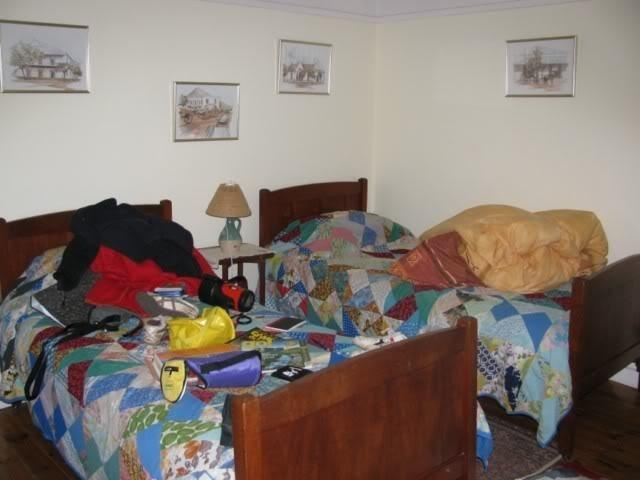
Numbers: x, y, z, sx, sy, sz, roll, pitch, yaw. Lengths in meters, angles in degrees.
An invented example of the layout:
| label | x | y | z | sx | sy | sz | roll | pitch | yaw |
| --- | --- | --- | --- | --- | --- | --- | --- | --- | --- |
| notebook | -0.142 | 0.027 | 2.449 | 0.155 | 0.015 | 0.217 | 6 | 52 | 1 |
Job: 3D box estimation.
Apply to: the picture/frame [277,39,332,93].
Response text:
| label | x | y | z | sx | sy | sz | roll | pitch | yaw |
| --- | --- | --- | --- | --- | --- | --- | --- | --- | --- |
| picture/frame | -0.129 | -1.552 | 4.723 | 0.573 | 0.423 | 0.016 | 14 | 21 | 29 |

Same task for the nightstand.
| label | x | y | z | sx | sy | sz | roll | pitch | yaw |
| --- | --- | --- | --- | --- | --- | --- | --- | --- | --- |
| nightstand | -0.680 | 0.124 | 4.261 | 0.597 | 0.649 | 0.464 | -9 | 14 | -40 |

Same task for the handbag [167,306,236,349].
| label | x | y | z | sx | sy | sz | roll | pitch | yaw |
| --- | --- | --- | --- | --- | --- | --- | --- | --- | --- |
| handbag | -0.589 | 0.443 | 2.614 | 0.196 | 0.120 | 0.273 | 5 | 8 | 31 |

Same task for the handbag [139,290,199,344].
| label | x | y | z | sx | sy | sz | roll | pitch | yaw |
| --- | --- | --- | --- | --- | --- | --- | --- | --- | --- |
| handbag | -0.875 | 0.446 | 2.901 | 0.218 | 0.103 | 0.313 | 7 | 18 | 17 |

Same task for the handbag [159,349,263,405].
| label | x | y | z | sx | sy | sz | roll | pitch | yaw |
| --- | --- | --- | --- | --- | --- | --- | --- | --- | --- |
| handbag | -0.478 | 0.517 | 2.225 | 0.261 | 0.128 | 0.262 | -4 | 0 | -32 |

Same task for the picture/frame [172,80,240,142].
| label | x | y | z | sx | sy | sz | roll | pitch | yaw |
| --- | --- | --- | --- | --- | --- | --- | --- | --- | --- |
| picture/frame | -0.909 | -1.044 | 4.211 | 0.589 | 0.463 | 0.018 | 5 | 11 | 29 |

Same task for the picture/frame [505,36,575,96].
| label | x | y | z | sx | sy | sz | roll | pitch | yaw |
| --- | --- | --- | --- | --- | --- | --- | --- | --- | --- |
| picture/frame | 1.787 | -1.404 | 4.209 | 0.028 | 0.400 | 0.502 | -15 | 20 | -40 |
